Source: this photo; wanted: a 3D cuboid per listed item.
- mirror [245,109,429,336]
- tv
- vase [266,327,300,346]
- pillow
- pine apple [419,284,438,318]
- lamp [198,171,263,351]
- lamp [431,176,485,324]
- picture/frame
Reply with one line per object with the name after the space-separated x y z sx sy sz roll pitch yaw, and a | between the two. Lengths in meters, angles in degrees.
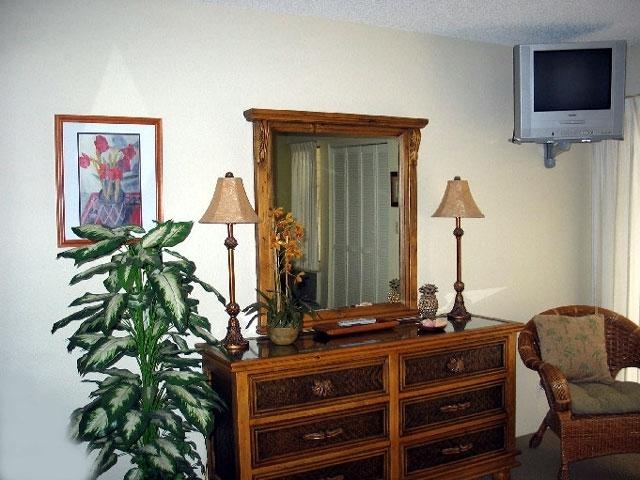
0.066 -0.116 3.593 1.404 1.615 0.180 -2 5 -26 | mirror
1.746 -1.046 4.142 0.787 0.716 0.435 -3 6 -4 | tv
-0.205 0.544 3.207 0.122 0.073 0.126 1 4 21 | vase
1.823 0.765 4.003 0.474 0.452 0.143 -3 -4 3 | pillow
0.725 0.415 3.763 0.144 0.225 0.144 3 -4 -9 | pine apple
-0.500 0.113 3.227 0.311 0.985 0.423 -4 7 -11 | lamp
0.960 0.058 3.901 0.324 0.989 0.462 -1 7 15 | lamp
-1.191 -0.320 3.112 0.742 0.912 0.034 -2 1 -28 | picture/frame
